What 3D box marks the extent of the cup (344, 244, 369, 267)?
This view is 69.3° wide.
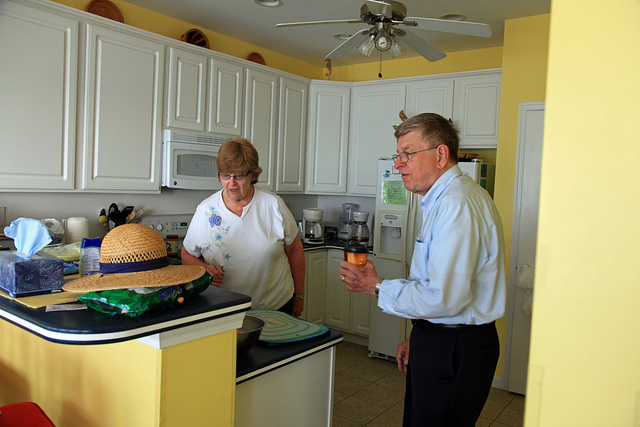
[{"bbox_3d":[0.138,0.158,1.776,0.088,0.085,0.084,1,1,0],"label":"cup"}]

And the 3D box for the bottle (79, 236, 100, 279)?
[{"bbox_3d":[-0.780,0.148,1.549,0.066,0.121,0.129,-6,7,-26],"label":"bottle"}]

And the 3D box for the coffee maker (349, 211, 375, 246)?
[{"bbox_3d":[0.388,0.143,4.445,0.260,0.311,0.327,0,6,21],"label":"coffee maker"}]

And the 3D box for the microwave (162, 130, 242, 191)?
[{"bbox_3d":[-0.814,-0.398,3.612,0.696,0.410,0.353,7,6,20],"label":"microwave"}]

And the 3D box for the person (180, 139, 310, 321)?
[{"bbox_3d":[-0.403,0.114,2.312,0.629,0.955,0.407,-3,7,-5],"label":"person"}]

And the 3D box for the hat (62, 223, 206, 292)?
[{"bbox_3d":[-0.556,0.108,1.371,0.385,0.154,0.379,-8,9,-39],"label":"hat"}]

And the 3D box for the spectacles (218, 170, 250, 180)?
[{"bbox_3d":[-0.428,-0.186,2.212,0.163,0.043,0.080,-1,7,8],"label":"spectacles"}]

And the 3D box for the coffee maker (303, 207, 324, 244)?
[{"bbox_3d":[-0.070,0.108,4.504,0.231,0.311,0.292,-4,14,-32],"label":"coffee maker"}]

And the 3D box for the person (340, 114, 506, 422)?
[{"bbox_3d":[0.433,0.211,1.807,0.438,1.205,0.468,4,10,44],"label":"person"}]
